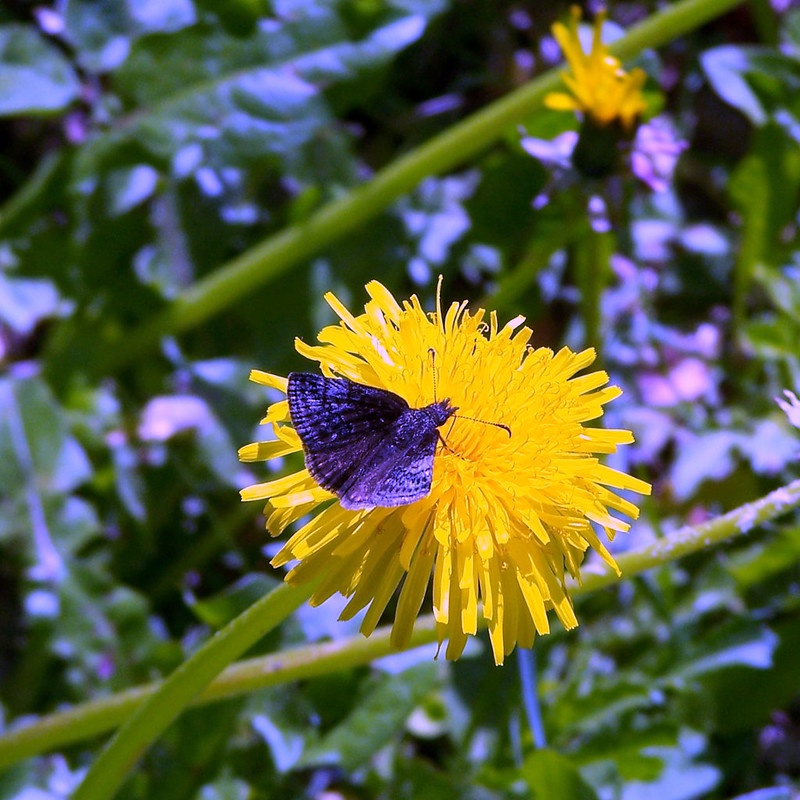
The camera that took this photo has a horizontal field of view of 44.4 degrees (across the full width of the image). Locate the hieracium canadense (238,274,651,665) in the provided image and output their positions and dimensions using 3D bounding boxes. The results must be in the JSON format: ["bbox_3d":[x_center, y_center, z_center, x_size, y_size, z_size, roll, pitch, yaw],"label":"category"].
[{"bbox_3d":[0.065,0.009,1.268,0.560,0.561,0.238,37,108,7],"label":"hieracium canadense"}]
